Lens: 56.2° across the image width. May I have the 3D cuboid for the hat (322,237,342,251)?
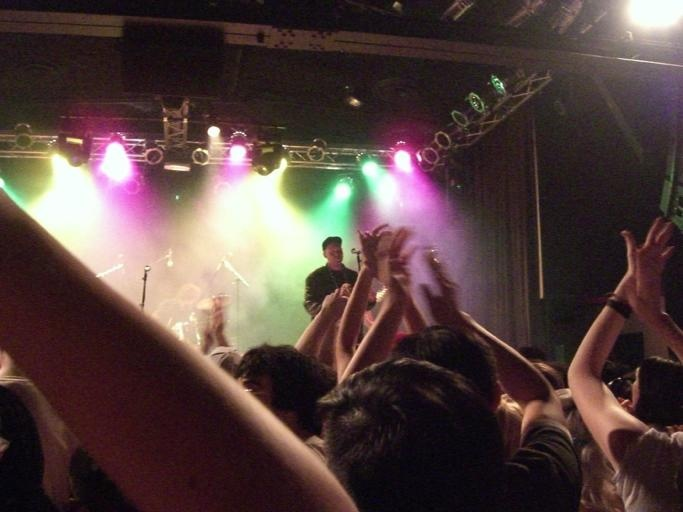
[{"bbox_3d":[-0.097,-0.143,7.411,0.158,0.190,0.200,-1,-2,-20],"label":"hat"}]

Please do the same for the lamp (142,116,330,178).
[{"bbox_3d":[-1.386,-1.296,7.756,1.800,0.531,0.889,0,-19,6],"label":"lamp"}]
